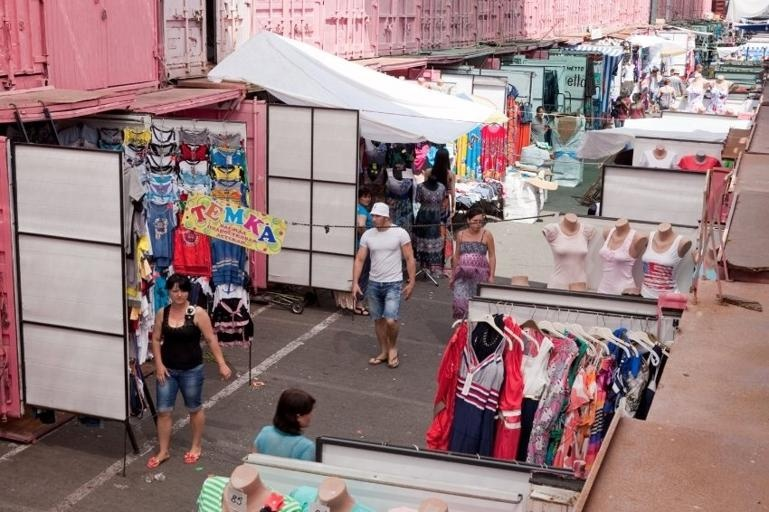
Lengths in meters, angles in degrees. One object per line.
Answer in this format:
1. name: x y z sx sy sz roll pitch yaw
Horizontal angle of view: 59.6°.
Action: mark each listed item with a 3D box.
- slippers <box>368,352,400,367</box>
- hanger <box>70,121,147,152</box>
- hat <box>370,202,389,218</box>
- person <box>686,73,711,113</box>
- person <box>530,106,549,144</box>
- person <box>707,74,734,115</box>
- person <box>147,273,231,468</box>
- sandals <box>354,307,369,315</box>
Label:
1. slippers: 0.009 1.424 9.268 0.443 0.143 0.253 -4 20 -8
2. hanger: -3.592 -1.588 8.755 0.853 0.279 0.646 7 13 20
3. hat: -0.058 -0.612 8.866 0.213 0.138 0.193 2 4 -32
4. person: 12.103 -6.368 26.122 0.783 1.598 0.578 18 45 33
5. person: 4.418 -3.715 18.933 0.461 0.931 0.595 8 21 24
6. person: 11.883 -5.794 23.794 0.554 1.187 2.634 9 22 25
7. person: -2.098 1.171 6.950 0.867 2.025 0.340 -5 20 -13
8. sandals: -0.365 0.872 10.831 0.271 0.113 0.095 3 11 21
